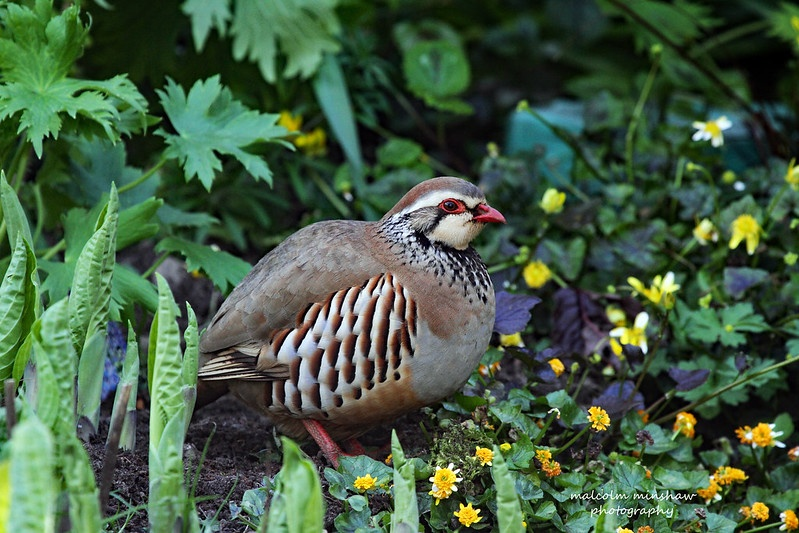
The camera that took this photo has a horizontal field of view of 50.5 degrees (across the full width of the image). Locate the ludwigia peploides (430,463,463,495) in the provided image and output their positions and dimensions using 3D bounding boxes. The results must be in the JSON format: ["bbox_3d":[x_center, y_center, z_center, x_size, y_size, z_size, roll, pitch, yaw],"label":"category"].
[{"bbox_3d":[0.182,0.801,3.289,0.134,0.105,0.137,-6,3,-11],"label":"ludwigia peploides"}]

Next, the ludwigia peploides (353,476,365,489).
[{"bbox_3d":[-0.160,0.825,3.269,0.028,0.046,0.064,-8,4,-41],"label":"ludwigia peploides"}]

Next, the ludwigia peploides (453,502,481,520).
[{"bbox_3d":[0.249,0.919,3.223,0.063,0.025,0.062,-25,34,-37],"label":"ludwigia peploides"}]

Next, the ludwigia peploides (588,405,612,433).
[{"bbox_3d":[0.823,0.624,3.487,0.088,0.098,0.038,-14,-14,-7],"label":"ludwigia peploides"}]

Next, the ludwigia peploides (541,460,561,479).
[{"bbox_3d":[0.615,0.807,3.429,0.075,0.077,0.057,-4,4,9],"label":"ludwigia peploides"}]

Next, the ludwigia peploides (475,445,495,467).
[{"bbox_3d":[0.336,0.742,3.352,0.070,0.083,0.115,-4,3,3],"label":"ludwigia peploides"}]

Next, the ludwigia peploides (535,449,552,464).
[{"bbox_3d":[0.583,0.756,3.427,0.065,0.062,0.074,-4,3,6],"label":"ludwigia peploides"}]
